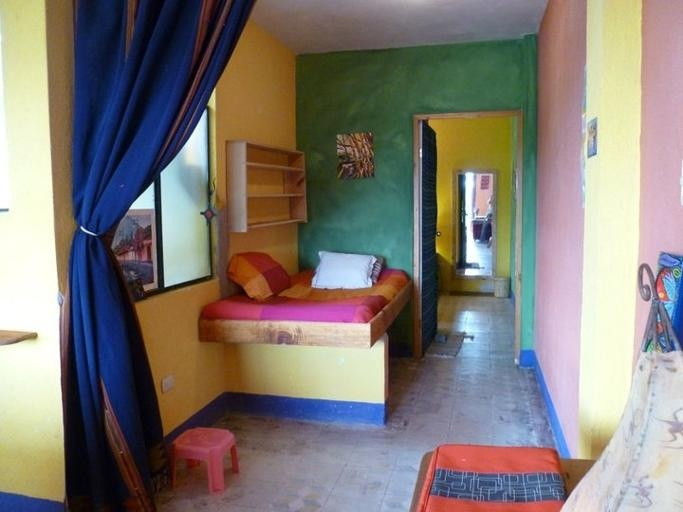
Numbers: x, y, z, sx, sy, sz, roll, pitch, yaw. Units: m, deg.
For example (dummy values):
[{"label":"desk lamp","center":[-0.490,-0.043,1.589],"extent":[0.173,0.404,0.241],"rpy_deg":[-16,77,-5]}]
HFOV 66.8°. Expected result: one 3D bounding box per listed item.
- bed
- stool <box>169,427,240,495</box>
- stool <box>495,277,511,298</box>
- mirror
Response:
[{"label":"bed","center":[-0.240,0.487,4.632],"extent":[1.537,0.379,1.515],"rpy_deg":[0,7,9]},{"label":"stool","center":[-0.886,1.314,3.392],"extent":[0.324,0.285,0.346],"rpy_deg":[-2,-1,13]},{"label":"stool","center":[2.747,0.567,8.889],"extent":[0.272,0.303,0.284],"rpy_deg":[-1,1,-21]},{"label":"mirror","center":[2.387,-0.542,9.391],"extent":[0.806,2.327,0.183],"rpy_deg":[0,-24,16]}]
